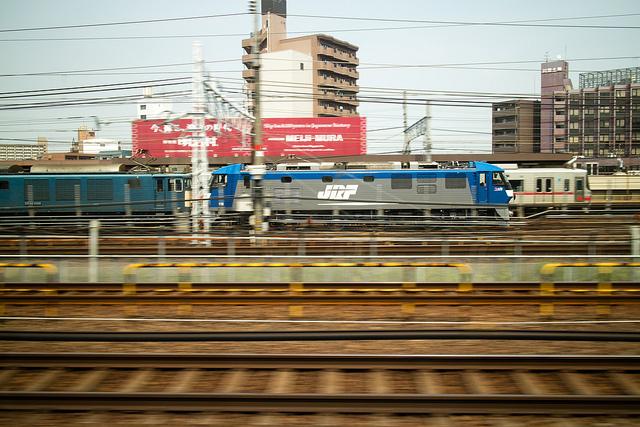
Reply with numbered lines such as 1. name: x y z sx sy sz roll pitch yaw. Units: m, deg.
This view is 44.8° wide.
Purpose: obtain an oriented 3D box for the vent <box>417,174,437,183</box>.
1. vent: 4.868 -1.614 35.731 0.853 0.377 0.124 -1 11 -3

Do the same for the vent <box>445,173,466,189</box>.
1. vent: 6.195 -1.509 35.614 1.478 0.609 0.547 0 0 3

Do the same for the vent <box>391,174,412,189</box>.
1. vent: 3.715 -1.472 35.766 0.833 0.670 0.157 -1 12 0

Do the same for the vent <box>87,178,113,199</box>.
1. vent: -10.792 -1.227 38.179 1.104 1.022 0.296 -3 12 -16

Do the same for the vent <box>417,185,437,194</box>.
1. vent: 4.879 -1.111 35.739 0.866 0.403 0.170 -1 11 -7
